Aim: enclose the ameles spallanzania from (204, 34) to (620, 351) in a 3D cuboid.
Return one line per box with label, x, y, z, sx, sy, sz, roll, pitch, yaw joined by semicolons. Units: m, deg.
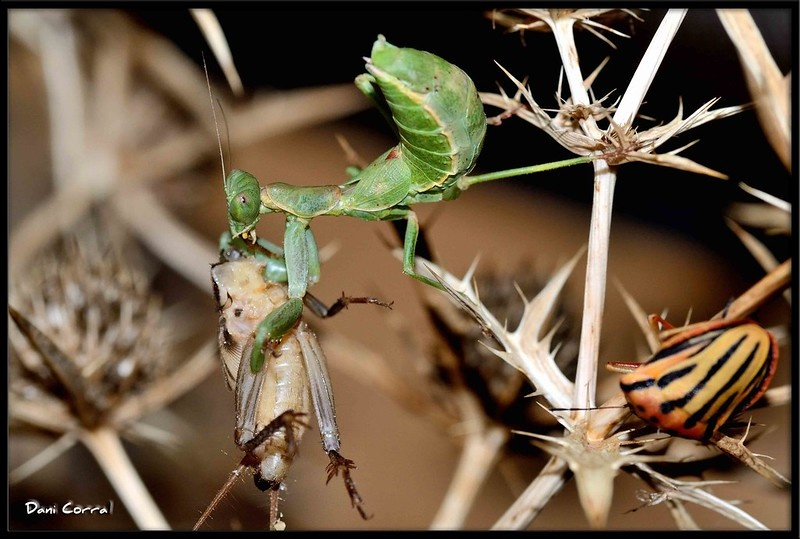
ameles spallanzania;-0.460;-0.341;4.147;0.995;3.116;1.905;4;-4;4
